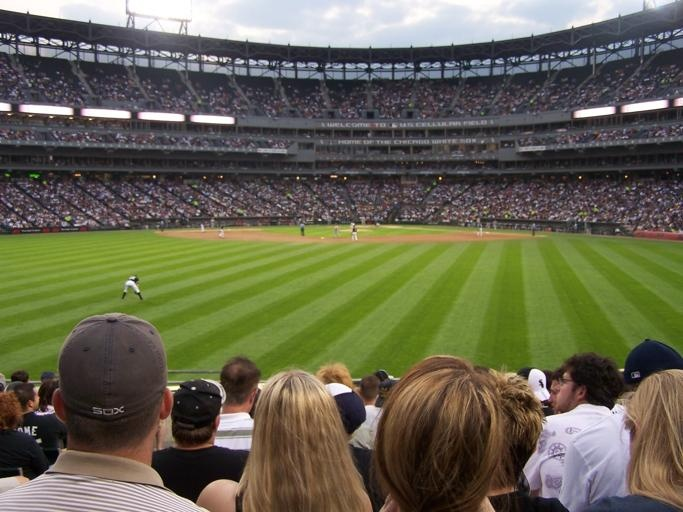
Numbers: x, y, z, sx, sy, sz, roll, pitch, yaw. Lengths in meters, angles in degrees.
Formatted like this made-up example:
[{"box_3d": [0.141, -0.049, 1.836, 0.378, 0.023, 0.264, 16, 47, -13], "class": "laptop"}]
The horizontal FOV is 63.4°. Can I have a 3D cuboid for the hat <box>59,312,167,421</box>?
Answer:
[{"box_3d": [-1.284, 0.557, 3.124, 0.527, 0.336, 0.661, 4, 26, -14], "class": "hat"}]
